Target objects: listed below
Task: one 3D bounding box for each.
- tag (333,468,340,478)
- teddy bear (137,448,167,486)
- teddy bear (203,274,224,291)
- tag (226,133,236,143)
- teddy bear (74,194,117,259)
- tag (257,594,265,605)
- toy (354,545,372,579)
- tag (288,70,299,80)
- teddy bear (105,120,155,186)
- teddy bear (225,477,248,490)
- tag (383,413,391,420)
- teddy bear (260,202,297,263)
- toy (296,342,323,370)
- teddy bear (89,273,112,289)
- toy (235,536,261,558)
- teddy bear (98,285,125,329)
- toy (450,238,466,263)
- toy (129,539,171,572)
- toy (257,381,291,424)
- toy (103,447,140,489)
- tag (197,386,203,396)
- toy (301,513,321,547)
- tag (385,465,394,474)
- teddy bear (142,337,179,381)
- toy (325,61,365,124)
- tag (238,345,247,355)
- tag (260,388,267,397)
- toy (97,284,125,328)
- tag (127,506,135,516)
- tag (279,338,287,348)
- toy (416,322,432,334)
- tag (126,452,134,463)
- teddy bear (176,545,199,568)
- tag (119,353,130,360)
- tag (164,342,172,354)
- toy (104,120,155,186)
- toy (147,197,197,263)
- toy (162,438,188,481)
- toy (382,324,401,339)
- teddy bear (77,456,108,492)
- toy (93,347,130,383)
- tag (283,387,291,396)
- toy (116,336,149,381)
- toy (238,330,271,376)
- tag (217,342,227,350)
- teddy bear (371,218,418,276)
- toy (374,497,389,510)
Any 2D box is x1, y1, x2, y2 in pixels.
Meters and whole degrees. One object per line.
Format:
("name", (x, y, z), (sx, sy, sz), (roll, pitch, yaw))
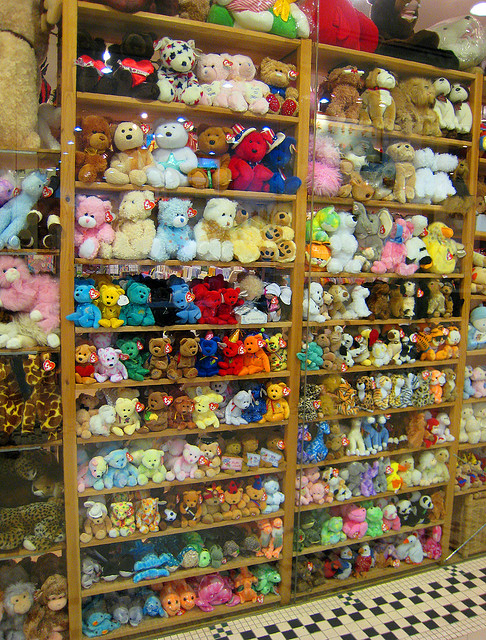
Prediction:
("tag", (0.411, 0.680, 2.327), (0.009, 0.032, 0.034), (0, -6, 42))
("teddy bear", (-0.352, 0.558, 1.993), (0.135, 0.126, 0.101), (1, 20, -26))
("teddy bear", (-0.118, -0.135, 2.020), (0.061, 0.070, 0.070), (7, -15, -4))
("tag", (-0.049, -0.693, 2.003), (0.038, 0.029, 0.036), (10, 51, 34))
("teddy bear", (-0.535, -0.321, 1.843), (0.172, 0.212, 0.118), (7, 25, -1))
("tag", (0.075, 1.155, 2.166), (0.029, 0.027, 0.009), (-5, -35, -26))
("toy", (0.551, 1.101, 2.399), (0.089, 0.138, 0.040), (2, 6, -18))
("tag", (0.200, -0.981, 2.102), (0.040, 0.035, 0.012), (-5, 12, -12))
("teddy bear", (-0.411, -0.593, 1.873), (0.179, 0.218, 0.184), (18, 28, 35))
("teddy bear", (-0.032, 0.661, 2.158), (0.063, 0.060, 0.056), (-4, -1, 21))
("tag", (0.662, 0.443, 2.407), (0.026, 0.023, 0.021), (-30, -12, 36))
("teddy bear", (0.151, -0.357, 2.153), (0.159, 0.233, 0.090), (2, 9, -5))
("toy", (0.273, 0.148, 2.199), (0.132, 0.145, 0.085), (0, 1, -44))
("teddy bear", (-0.506, -0.142, 1.877), (0.062, 0.045, 0.039), (24, -29, 23))
("toy", (0.018, 0.926, 2.176), (0.104, 0.068, 0.047), (-40, 10, 26))
("teddy bear", (-0.472, -0.048, 1.861), (0.121, 0.145, 0.107), (6, 20, -9))
("toy", (1.036, -0.340, 2.535), (0.081, 0.095, 0.051), (-8, 5, -12))
("toy", (-0.364, 0.911, 2.019), (0.127, 0.120, 0.046), (-18, -18, -28))
("toy", (0.123, 0.336, 2.179), (0.150, 0.164, 0.123), (0, 6, 5))
("toy", (-0.452, 0.544, 1.958), (0.108, 0.097, 0.072), (-13, 21, -7))
("tag", (-0.170, 0.275, 2.046), (0.030, 0.028, 0.007), (10, -4, -40))
("toy", (0.297, 0.924, 2.305), (0.093, 0.145, 0.029), (1, 6, -24))
("tag", (0.684, 0.692, 2.441), (0.036, 0.031, 0.012), (0, 1, -26))
("teddy bear", (-0.304, 0.141, 1.948), (0.138, 0.139, 0.109), (2, 13, 15))
("toy", (0.439, -0.963, 2.245), (0.173, 0.234, 0.133), (4, 4, -13))
("tag", (-0.003, 0.118, 2.061), (0.027, 0.030, 0.012), (0, -1, -18))
("tag", (0.082, 0.299, 2.165), (0.029, 0.030, 0.008), (-7, 1, -14))
("toy", (-0.475, -0.048, 1.865), (0.114, 0.143, 0.104), (1, 23, -17))
("tag", (-0.424, 0.720, 1.976), (0.027, 0.025, 0.010), (12, -9, -35))
("tag", (0.163, 0.096, 2.165), (0.039, 0.036, 0.015), (-1, 7, -41))
("toy", (0.850, 0.036, 2.480), (0.056, 0.025, 0.056), (-30, -31, 29))
("tag", (-0.425, 0.515, 1.965), (0.033, 0.028, 0.008), (-14, 0, -39))
("teddy bear", (-0.214, 0.930, 2.066), (0.077, 0.075, 0.090), (-2, -4, -23))
("tag", (-0.434, 0.130, 1.908), (0.029, 0.022, 0.005), (2, 10, -10))
("tag", (-0.279, 0.101, 1.937), (0.008, 0.054, 0.045), (5, 4, 35))
("toy", (-0.408, -0.593, 1.873), (0.176, 0.218, 0.196), (17, 29, 32))
("toy", (-0.267, -0.334, 1.963), (0.179, 0.232, 0.205), (26, 29, 32))
("toy", (-0.263, 0.538, 2.036), (0.083, 0.158, 0.030), (1, 6, -28))
("toy", (0.668, 0.052, 2.379), (0.089, 0.045, 0.038), (4, 16, -30))
("teddy bear", (-0.552, 0.555, 1.904), (0.096, 0.115, 0.089), (19, 22, -48))
("toy", (-0.496, 0.171, 1.947), (0.164, 0.146, 0.115), (1, 41, -21))
("tag", (0.180, 0.296, 2.177), (0.034, 0.031, 0.008), (3, 2, -28))
("toy", (-0.374, 0.118, 1.937), (0.081, 0.128, 0.088), (-20, 16, 19))
("toy", (0.034, 0.134, 2.113), (0.142, 0.167, 0.122), (-7, 10, 8))
("tag", (-0.082, 0.100, 2.033), (0.029, 0.033, 0.011), (-12, -34, -20))
("teddy bear", (0.670, -0.335, 2.370), (0.212, 0.255, 0.158), (1, 17, -4))
("toy", (0.643, 0.850, 2.447), (0.069, 0.047, 0.049), (-15, -13, 5))
